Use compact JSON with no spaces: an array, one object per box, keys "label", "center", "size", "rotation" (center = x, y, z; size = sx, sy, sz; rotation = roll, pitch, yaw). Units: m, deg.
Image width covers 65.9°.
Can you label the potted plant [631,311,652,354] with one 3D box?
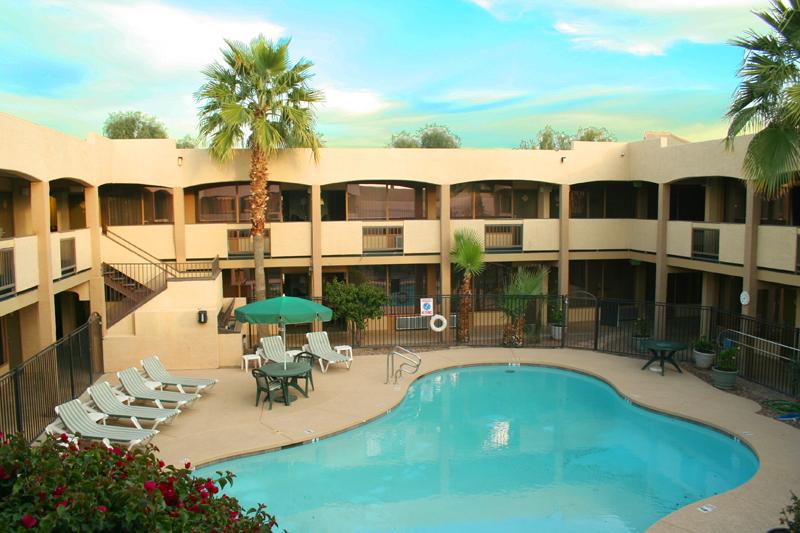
[{"label":"potted plant","center":[11.670,3.153,29.550],"size":[0.849,1.898,0.854],"rotation":[10,-9,-14]}]

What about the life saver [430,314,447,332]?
[{"label":"life saver","center":[1.844,2.700,29.085],"size":[0.762,0.923,1.118],"rotation":[-2,4,4]}]

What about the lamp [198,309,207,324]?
[{"label":"lamp","center":[-8.076,2.086,25.401],"size":[0.389,0.572,0.210],"rotation":[-4,5,-23]}]

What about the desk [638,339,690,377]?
[{"label":"desk","center":[10.735,3.682,25.218],"size":[1.748,1.143,1.806],"rotation":[5,8,34]}]

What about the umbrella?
[{"label":"umbrella","center":[-4.309,2.678,23.698],"size":[2.800,2.578,2.961],"rotation":[5,8,12]}]

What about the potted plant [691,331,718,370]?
[{"label":"potted plant","center":[12.539,3.481,25.776],"size":[1.071,1.593,1.281],"rotation":[3,4,1]}]
